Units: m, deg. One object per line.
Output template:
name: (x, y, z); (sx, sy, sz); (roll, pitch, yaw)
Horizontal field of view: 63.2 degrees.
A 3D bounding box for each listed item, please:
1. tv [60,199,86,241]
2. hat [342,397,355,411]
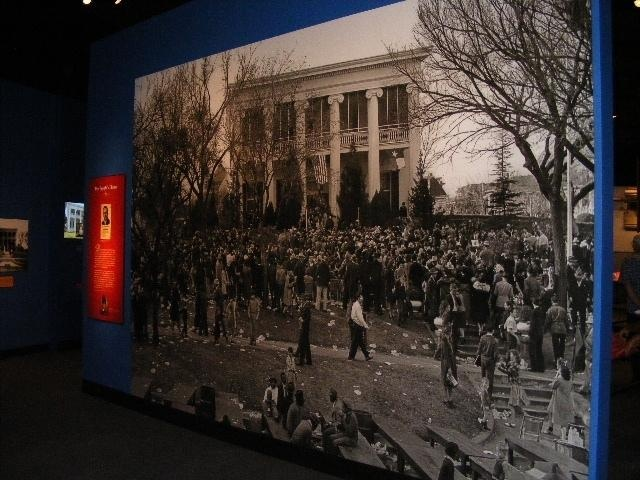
tv: (-4.926, -0.375, 10.404); (0.371, 0.729, 0.171); (-3, 6, -44)
hat: (0.310, 1.857, 5.886); (0.082, 0.130, 0.030); (-25, -17, 32)
